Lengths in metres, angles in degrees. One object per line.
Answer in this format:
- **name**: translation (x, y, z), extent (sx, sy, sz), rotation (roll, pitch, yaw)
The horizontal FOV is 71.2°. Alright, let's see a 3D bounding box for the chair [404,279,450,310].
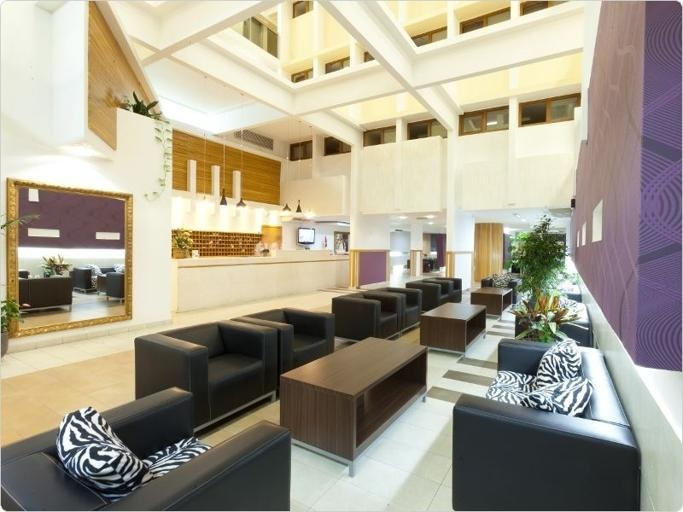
- **chair**: translation (1.694, 0.733, 9.238), extent (0.514, 0.531, 0.759), rotation (-1, -1, 34)

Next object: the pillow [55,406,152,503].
- **pillow**: translation (-1.469, 1.039, 2.990), extent (0.451, 0.339, 0.849), rotation (-9, 14, -42)

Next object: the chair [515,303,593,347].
- **chair**: translation (2.838, 0.881, 5.900), extent (0.570, 0.467, 0.595), rotation (-1, 0, 42)

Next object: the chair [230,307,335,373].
- **chair**: translation (-0.630, 0.853, 5.660), extent (0.712, 0.623, 0.795), rotation (1, 3, 35)

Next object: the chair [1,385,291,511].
- **chair**: translation (-1.357, 1.376, 3.401), extent (0.835, 0.553, 0.861), rotation (3, 0, 27)

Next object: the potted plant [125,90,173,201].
- **potted plant**: translation (-3.210, -1.837, 7.985), extent (0.583, 1.798, 1.291), rotation (-3, 1, 1)

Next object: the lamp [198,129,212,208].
- **lamp**: translation (-3.894, -2.504, 13.544), extent (0.254, 1.670, 0.245), rotation (-2, 1, 11)

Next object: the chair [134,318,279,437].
- **chair**: translation (-1.386, 0.919, 4.890), extent (0.937, 1.008, 1.318), rotation (0, 1, 34)

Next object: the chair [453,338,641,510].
- **chair**: translation (1.466, 1.425, 3.559), extent (1.253, 0.532, 0.636), rotation (-3, 0, 17)

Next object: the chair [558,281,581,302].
- **chair**: translation (4.008, 0.562, 8.414), extent (0.322, 0.228, 3.151), rotation (-3, 0, 24)

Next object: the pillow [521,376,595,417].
- **pillow**: translation (1.650, 1.052, 3.556), extent (0.313, 0.109, 0.321), rotation (-22, 6, -38)

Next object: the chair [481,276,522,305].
- **chair**: translation (3.718, 0.754, 11.038), extent (0.727, 0.816, 0.739), rotation (-2, -6, 32)

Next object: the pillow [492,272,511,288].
- **pillow**: translation (3.739, 0.557, 11.063), extent (0.319, 0.395, 0.128), rotation (0, -37, 21)

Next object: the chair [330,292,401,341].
- **chair**: translation (0.364, 0.898, 7.152), extent (0.667, 0.680, 0.941), rotation (-2, -1, 34)
